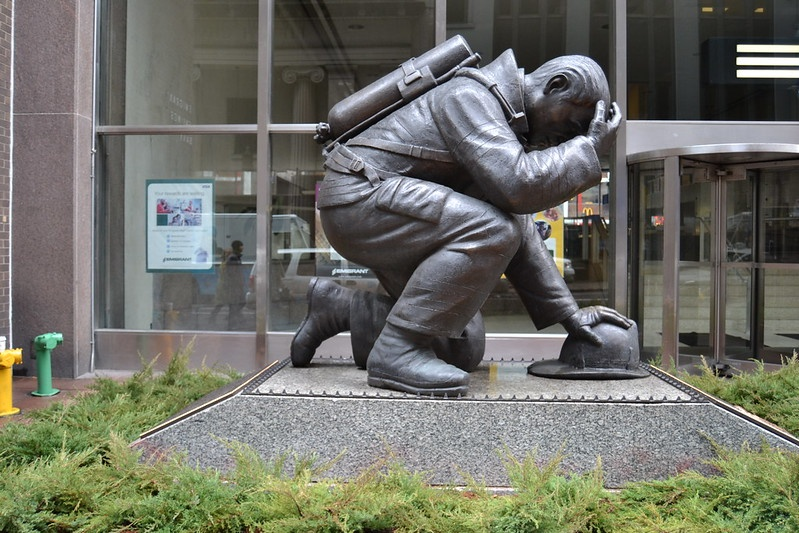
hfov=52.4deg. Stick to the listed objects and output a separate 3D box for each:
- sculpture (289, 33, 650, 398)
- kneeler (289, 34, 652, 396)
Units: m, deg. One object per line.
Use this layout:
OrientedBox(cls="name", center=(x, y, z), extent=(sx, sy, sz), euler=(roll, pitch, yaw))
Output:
OrientedBox(cls="sculpture", center=(0.427, -0.385, 6.526), extent=(2.705, 2.604, 1.972), euler=(1, -3, 9))
OrientedBox(cls="kneeler", center=(0.434, -0.421, 6.068), extent=(2.190, 2.612, 0.890), euler=(0, 2, -5))
